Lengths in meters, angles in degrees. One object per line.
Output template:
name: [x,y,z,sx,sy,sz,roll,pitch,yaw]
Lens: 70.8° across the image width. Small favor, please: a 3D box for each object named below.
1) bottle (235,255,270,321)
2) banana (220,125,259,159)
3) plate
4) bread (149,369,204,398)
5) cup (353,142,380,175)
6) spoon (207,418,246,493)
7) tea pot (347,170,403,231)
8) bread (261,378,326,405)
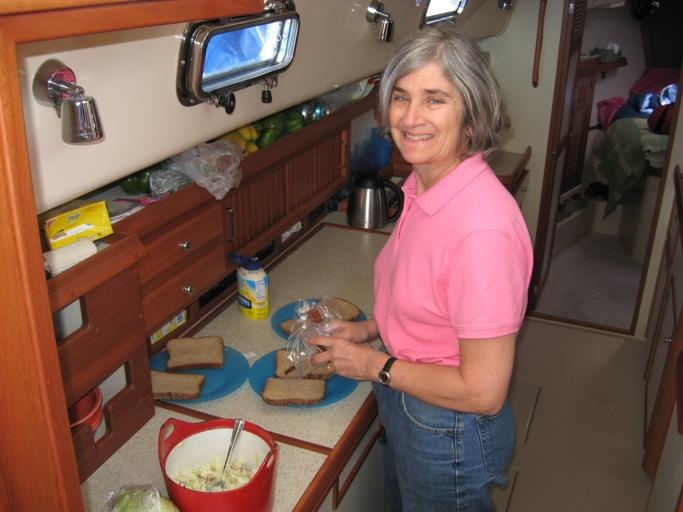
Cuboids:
bottle: [-0.341,0.132,1.807,0.141,0.231,0.087,23,40,24]
banana: [-0.381,-0.444,1.838,0.076,0.057,0.156,-48,32,-5]
plate: [-0.305,0.323,1.532,0.518,0.032,0.347,-7,35,-15]
bread: [-0.506,0.394,1.466,0.145,0.028,0.084,7,34,-7]
cup: [0.139,-0.584,2.865,0.104,0.193,0.197,4,25,17]
spoon: [-0.262,0.470,1.164,0.064,0.046,0.298,21,8,-11]
tea pot: [0.178,-0.275,2.577,0.283,0.274,0.228,5,5,12]
bread: [-0.144,0.415,1.468,0.137,0.025,0.087,4,32,-2]
